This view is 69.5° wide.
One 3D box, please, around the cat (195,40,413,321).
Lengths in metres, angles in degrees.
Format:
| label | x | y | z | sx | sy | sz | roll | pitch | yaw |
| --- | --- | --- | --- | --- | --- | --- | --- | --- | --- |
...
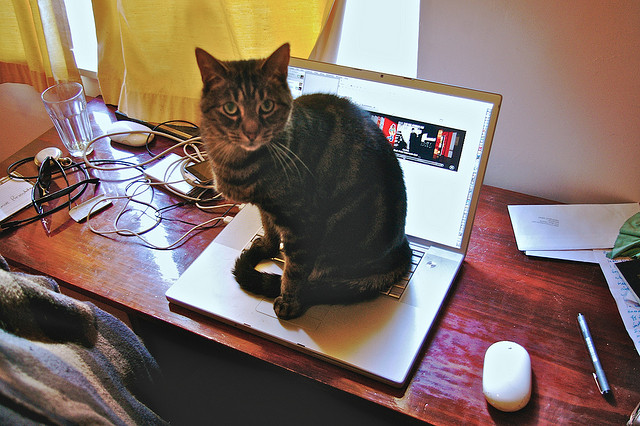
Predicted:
| label | x | y | z | sx | sy | sz | roll | pitch | yaw |
| --- | --- | --- | --- | --- | --- | --- | --- | --- | --- |
| cat | -0.026 | -0.152 | 1.482 | 0.651 | 0.861 | 0.559 | -12 | 14 | -23 |

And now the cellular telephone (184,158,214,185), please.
| label | x | y | z | sx | sy | sz | roll | pitch | yaw |
| --- | --- | --- | --- | --- | --- | --- | --- | --- | --- |
| cellular telephone | -0.359 | -0.119 | 1.368 | 0.083 | 0.009 | 0.048 | -32 | 74 | -31 |
